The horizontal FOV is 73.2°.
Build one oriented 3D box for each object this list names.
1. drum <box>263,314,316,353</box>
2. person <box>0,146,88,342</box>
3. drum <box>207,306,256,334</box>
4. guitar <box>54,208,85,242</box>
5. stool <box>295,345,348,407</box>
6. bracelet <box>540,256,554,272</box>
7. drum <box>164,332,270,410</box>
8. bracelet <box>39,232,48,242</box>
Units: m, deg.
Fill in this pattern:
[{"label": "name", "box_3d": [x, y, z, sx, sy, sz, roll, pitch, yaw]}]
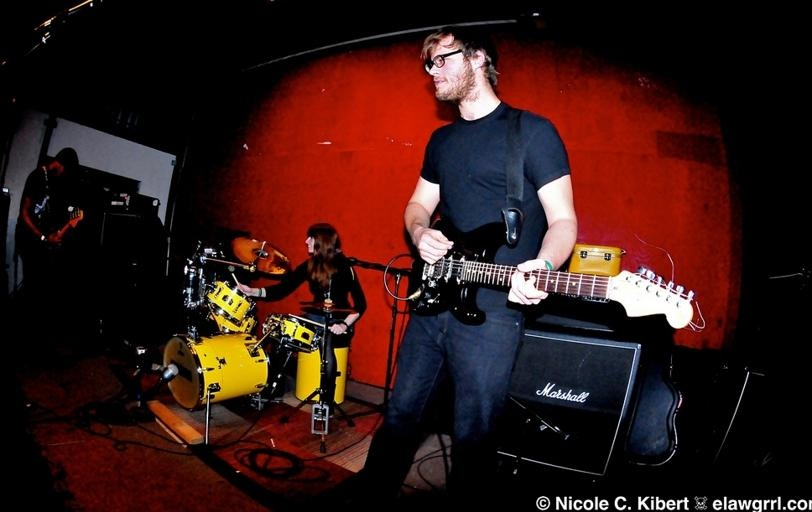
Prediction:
[{"label": "drum", "box_3d": [-1.354, 0.916, 6.253, 0.746, 0.276, 0.622, 25, -23, -35]}, {"label": "person", "box_3d": [-4.881, -0.230, 7.422, 0.805, 2.654, 0.319, 8, 0, -20]}, {"label": "drum", "box_3d": [-2.025, 0.781, 6.308, 0.427, 0.177, 0.319, 31, -8, -24]}, {"label": "guitar", "box_3d": [-4.623, -0.404, 7.400, 0.149, 0.514, 0.155, 47, -4, -3]}, {"label": "stool", "box_3d": [-0.991, 1.389, 6.480, 0.659, 0.690, 0.662, 3, 2, 9]}, {"label": "bracelet", "box_3d": [1.076, 0.062, 4.128, 0.034, 0.088, 0.068, -30, 0, 0]}, {"label": "drum", "box_3d": [-2.145, 1.177, 6.115, 0.797, 0.849, 1.000, -4, -1, 42]}, {"label": "bracelet", "box_3d": [-4.948, -0.243, 7.370, 0.070, 0.089, 0.027, -3, 0, 4]}]
